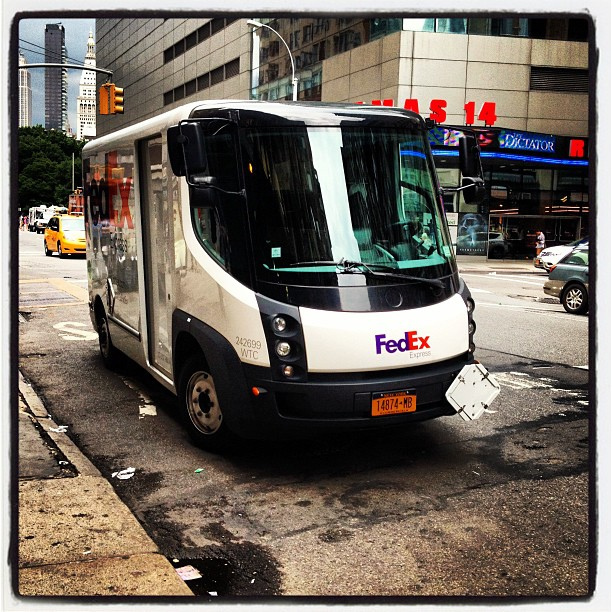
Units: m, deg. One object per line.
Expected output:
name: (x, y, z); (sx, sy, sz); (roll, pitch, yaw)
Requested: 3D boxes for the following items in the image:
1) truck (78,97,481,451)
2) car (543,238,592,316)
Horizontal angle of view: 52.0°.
truck: (-0.747, -0.567, 7.181); (2.866, 2.902, 5.548); (-7, 11, -33)
car: (6.472, -0.643, 15.284); (0.835, 1.565, 1.253); (0, 7, -4)
